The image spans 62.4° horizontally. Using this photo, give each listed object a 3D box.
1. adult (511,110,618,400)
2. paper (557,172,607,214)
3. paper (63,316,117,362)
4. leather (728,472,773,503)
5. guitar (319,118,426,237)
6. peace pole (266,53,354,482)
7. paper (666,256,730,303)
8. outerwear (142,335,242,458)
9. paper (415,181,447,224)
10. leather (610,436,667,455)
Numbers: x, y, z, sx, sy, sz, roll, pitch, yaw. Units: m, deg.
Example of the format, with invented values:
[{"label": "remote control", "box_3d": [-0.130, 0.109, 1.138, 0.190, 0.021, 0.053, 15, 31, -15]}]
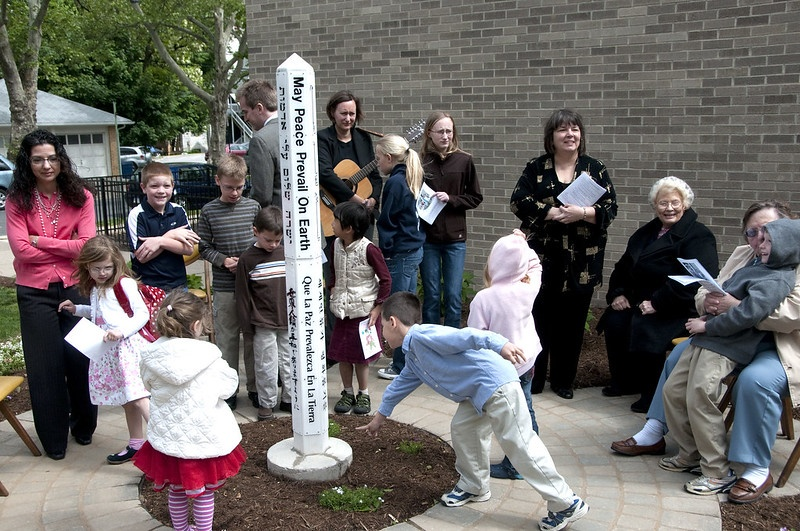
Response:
[{"label": "adult", "box_3d": [1.662, -0.120, 6.645, 1.105, 2.730, 0.970, 4, 5, 27]}, {"label": "paper", "box_3d": [1.732, -0.704, 6.183, 0.359, 0.362, 0.085, 43, 8, 1]}, {"label": "paper", "box_3d": [-2.520, 0.611, 5.365, 0.330, 0.364, 0.228, -6, 13, -24]}, {"label": "leather", "box_3d": [2.696, 1.706, 5.057, 0.371, 0.132, 0.145, 4, -12, -28]}, {"label": "guitar", "box_3d": [-0.435, -0.953, 7.168, 1.714, 0.678, 0.238, -40, 4, -23]}, {"label": "peace pole", "box_3d": [-0.748, 0.033, 5.136, 0.659, 3.260, 0.697, -3, 13, -11]}, {"label": "paper", "box_3d": [2.406, 0.066, 5.413, 0.593, 0.432, 0.200, 8, 20, 15]}, {"label": "outerwear", "box_3d": [-1.475, 0.906, 4.587, 0.667, 0.798, 0.351, -2, 13, -9]}, {"label": "paper", "box_3d": [0.247, -0.647, 6.798, 0.122, 0.375, 0.425, -1, 2, 42]}, {"label": "leather", "box_3d": [2.041, 1.544, 5.712, 0.462, 0.162, 0.163, 1, -8, 0]}]
